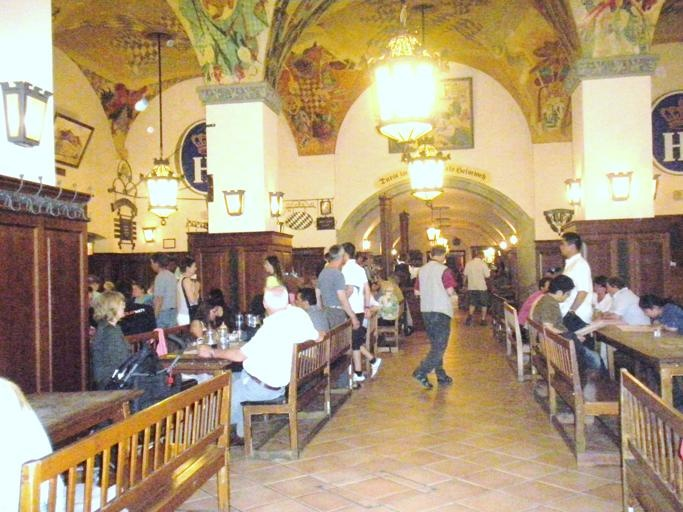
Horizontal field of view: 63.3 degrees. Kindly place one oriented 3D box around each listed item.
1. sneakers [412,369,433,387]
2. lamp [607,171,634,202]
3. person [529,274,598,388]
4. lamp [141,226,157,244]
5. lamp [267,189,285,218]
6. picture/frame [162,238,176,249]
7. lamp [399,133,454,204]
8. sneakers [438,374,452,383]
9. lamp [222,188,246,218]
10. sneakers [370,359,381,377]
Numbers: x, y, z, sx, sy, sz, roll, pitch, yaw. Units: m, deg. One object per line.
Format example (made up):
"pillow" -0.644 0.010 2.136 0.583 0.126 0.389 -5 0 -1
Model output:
"sneakers" 1.187 1.819 8.179 0.143 0.321 0.107 -39 26 11
"lamp" 4.565 -1.111 9.302 0.528 0.559 0.435 0 -4 5
"person" 3.241 0.796 7.756 0.656 2.194 0.753 -5 8 5
"lamp" -5.593 -0.608 16.198 0.466 0.532 0.456 0 -4 -7
"lamp" -1.209 -0.956 10.337 0.203 0.478 0.465 -1 3 2
"picture/frame" -5.118 -0.359 16.452 0.318 0.229 0.044 0 3 9
"lamp" 1.612 -1.718 10.569 0.726 1.176 0.760 0 3 19
"sneakers" 1.573 1.871 8.385 0.190 0.114 0.103 -2 0 1
"lamp" -1.791 -0.935 9.836 0.457 0.507 0.424 1 7 8
"sneakers" 0.542 1.777 8.747 0.153 0.121 0.334 6 -40 -3
